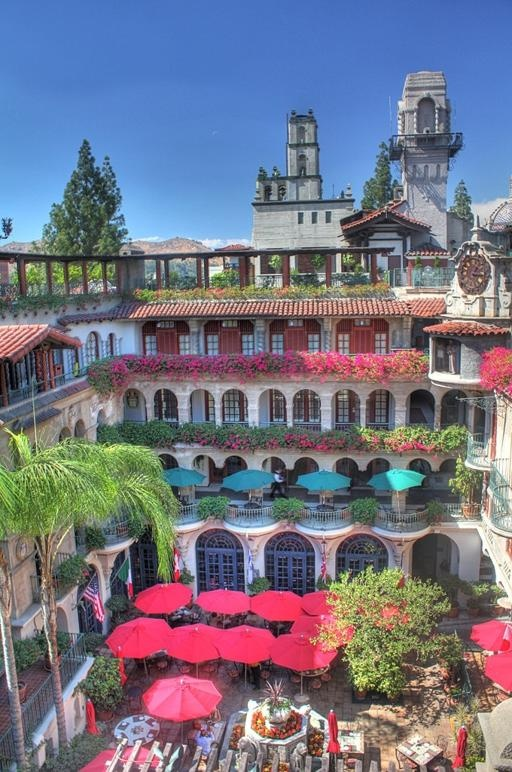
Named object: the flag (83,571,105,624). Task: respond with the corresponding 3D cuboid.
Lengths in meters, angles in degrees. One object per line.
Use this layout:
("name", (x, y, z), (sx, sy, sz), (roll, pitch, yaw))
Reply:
("flag", (-5.966, 7.787, 26.351), (0.626, 1.514, 2.520), (-4, 6, -15))

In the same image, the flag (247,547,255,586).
("flag", (-0.184, 8.148, 32.196), (0.386, 1.552, 0.460), (-4, 6, -11))

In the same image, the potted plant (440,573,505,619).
("potted plant", (8.984, 8.832, 30.007), (2.367, 1.581, 1.524), (-1, 6, 18))

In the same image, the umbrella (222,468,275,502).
("umbrella", (-0.148, 4.692, 32.053), (1.815, 1.225, 1.848), (3, 29, 16))

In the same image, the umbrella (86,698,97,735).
("umbrella", (-5.294, 10.615, 23.132), (0.316, 0.913, 0.915), (-5, 6, -16))

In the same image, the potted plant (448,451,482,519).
("potted plant", (9.000, 4.356, 30.594), (1.204, 2.689, 2.526), (-1, 6, 15))

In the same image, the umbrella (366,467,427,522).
("umbrella", (6.068, 4.559, 30.729), (2.227, 2.096, 2.278), (3, 28, 24))

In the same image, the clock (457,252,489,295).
("clock", (7.995, -4.131, 26.192), (0.118, 1.535, 1.522), (-8, 10, -21))

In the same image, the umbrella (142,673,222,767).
("umbrella", (-2.030, 9.249, 21.113), (1.843, 0.919, 1.853), (5, 10, -24))

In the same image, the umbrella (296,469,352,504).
("umbrella", (2.843, 4.624, 31.490), (1.948, 1.340, 1.891), (-15, 32, -25))

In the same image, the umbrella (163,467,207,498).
("umbrella", (-3.245, 4.713, 32.071), (1.583, 0.662, 1.581), (6, 22, -4))
